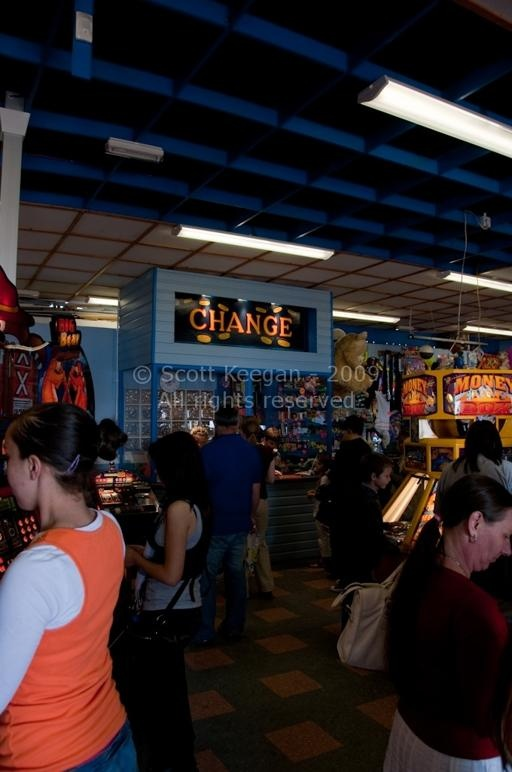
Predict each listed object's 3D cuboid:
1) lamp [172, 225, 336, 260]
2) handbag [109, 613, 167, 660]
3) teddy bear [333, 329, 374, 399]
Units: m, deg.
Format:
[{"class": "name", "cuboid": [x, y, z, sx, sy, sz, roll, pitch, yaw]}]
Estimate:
[{"class": "lamp", "cuboid": [-0.018, -1.412, 5.535, 1.775, 0.123, 0.503, 3, -5, -29]}, {"class": "handbag", "cuboid": [-0.420, 0.922, 2.042, 0.130, 0.126, 0.034, 4, -1, 17]}, {"class": "teddy bear", "cuboid": [1.404, -0.386, 8.075, 0.544, 0.965, 0.653, 0, -5, 9]}]
